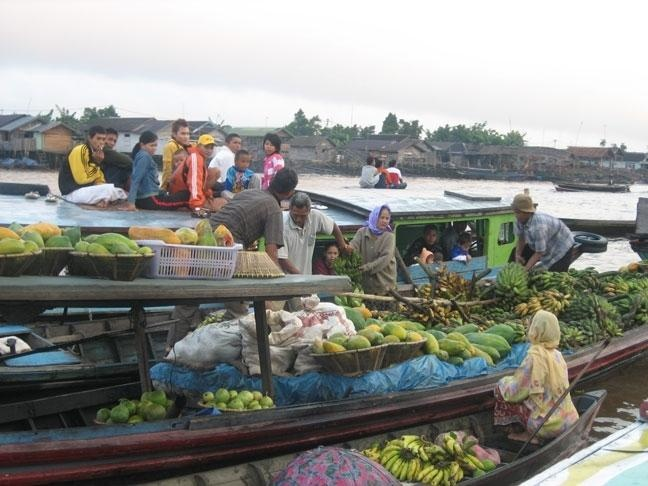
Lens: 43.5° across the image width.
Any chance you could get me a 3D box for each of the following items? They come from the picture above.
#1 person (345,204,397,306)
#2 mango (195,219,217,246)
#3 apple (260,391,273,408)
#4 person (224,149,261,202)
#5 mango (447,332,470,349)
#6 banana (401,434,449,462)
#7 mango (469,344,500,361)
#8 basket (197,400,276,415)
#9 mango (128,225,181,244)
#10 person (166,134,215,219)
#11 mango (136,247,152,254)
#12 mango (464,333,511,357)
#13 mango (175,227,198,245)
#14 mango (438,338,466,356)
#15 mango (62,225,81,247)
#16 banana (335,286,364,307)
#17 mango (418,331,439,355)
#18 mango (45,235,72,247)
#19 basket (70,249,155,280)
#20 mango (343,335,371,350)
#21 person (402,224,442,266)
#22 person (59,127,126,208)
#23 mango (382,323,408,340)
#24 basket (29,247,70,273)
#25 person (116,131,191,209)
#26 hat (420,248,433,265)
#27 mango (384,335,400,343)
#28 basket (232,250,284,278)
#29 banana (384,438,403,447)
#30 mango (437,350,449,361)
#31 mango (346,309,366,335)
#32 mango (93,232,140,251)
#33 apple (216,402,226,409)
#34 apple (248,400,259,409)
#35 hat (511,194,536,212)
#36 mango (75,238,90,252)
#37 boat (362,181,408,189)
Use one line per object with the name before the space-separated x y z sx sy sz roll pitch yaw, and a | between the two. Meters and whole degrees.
person | 0.544 0.195 10.674 0.900 1.256 0.537 -5 20 -18
mango | -1.032 -0.083 7.071 0.186 0.221 0.396 3 13 -8
apple | -0.524 1.433 7.420 0.111 0.125 0.102 0 11 14
person | -1.152 -0.943 11.432 0.641 0.642 0.568 1 10 -5
mango | 1.416 1.018 8.512 0.131 0.095 0.240 -19 15 -21
banana | 0.903 1.839 7.346 0.327 0.096 0.189 24 22 9
mango | 1.737 1.157 8.734 0.308 0.107 0.137 19 -26 0
basket | -0.790 1.487 7.266 0.697 0.083 0.240 1 13 -15
mango | -1.461 -0.074 6.965 0.415 0.133 0.166 7 5 1
person | -1.811 -1.025 11.247 0.714 0.953 1.373 4 15 3
mango | -1.471 0.061 6.674 0.079 0.038 0.059 7 -5 -27
mango | 1.706 1.069 8.931 0.618 0.214 0.184 11 47 15
mango | -1.173 -0.061 6.994 0.175 0.083 0.132 14 -13 -38
mango | 1.311 1.062 8.409 0.285 0.133 0.130 12 34 17
mango | -2.135 -0.053 6.830 0.187 0.149 0.050 -7 -3 -37
banana | 0.276 0.611 9.290 0.264 0.125 0.293 -4 2 2
mango | 1.074 1.008 8.237 0.133 0.124 0.232 42 16 -49
mango | -2.191 -0.025 6.722 0.146 0.072 0.115 2 6 34
basket | -1.798 0.185 6.682 0.383 0.122 0.383 9 6 44
mango | 0.312 0.923 7.670 0.192 0.122 0.130 -5 7 1
person | 1.586 0.024 12.135 0.516 0.671 0.695 -2 14 -15
person | -3.149 -1.077 11.080 0.711 1.036 1.032 -6 18 -38
mango | 0.712 0.873 8.073 0.218 0.133 0.120 12 -22 -17
basket | -2.250 0.161 6.684 0.330 0.234 0.130 -8 20 -43
person | -2.279 -1.002 11.231 1.072 0.996 0.773 0 10 -33
hat | 1.457 0.198 11.635 0.191 0.168 0.174 -23 -32 38
mango | 0.664 0.928 7.884 0.111 0.087 0.078 -5 57 -28
basket | -0.593 0.191 7.230 0.508 0.218 0.230 -5 17 -35
banana | 0.638 1.839 7.527 0.132 0.049 0.152 -11 -6 4
mango | 1.223 1.135 8.287 0.093 0.083 0.123 -7 18 -45
mango | 0.292 0.810 8.438 0.247 0.101 0.158 37 20 9
mango | -1.732 -0.017 6.664 0.267 0.080 0.182 11 0 15
apple | -0.924 1.460 7.344 0.054 0.026 0.052 12 24 28
apple | -0.636 1.451 7.359 0.071 0.056 0.063 -3 1 0
hat | 2.744 -0.528 11.197 0.316 0.138 0.291 9 20 29
mango | -1.996 0.021 6.704 0.105 0.065 0.116 -1 32 4
boat | 1.313 -1.318 18.354 1.266 0.253 0.255 -4 9 -35
